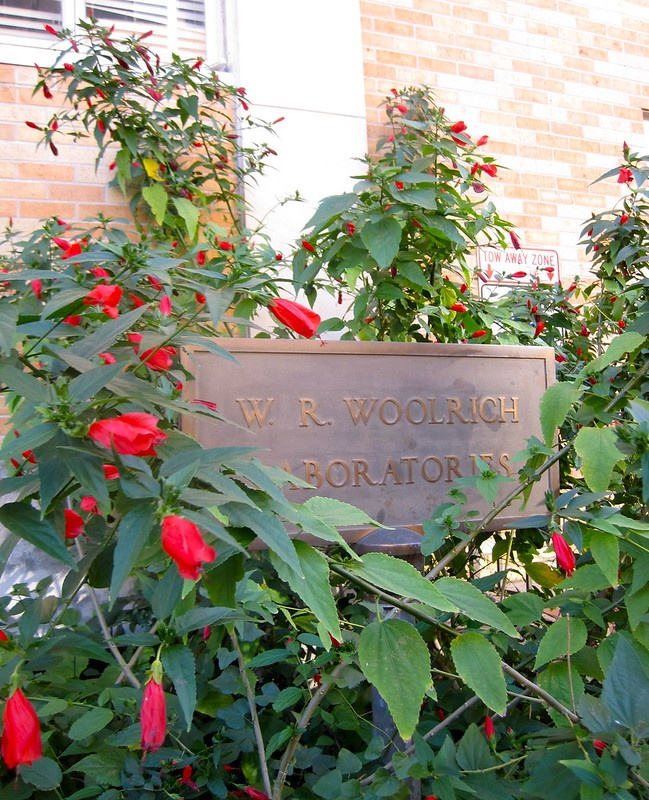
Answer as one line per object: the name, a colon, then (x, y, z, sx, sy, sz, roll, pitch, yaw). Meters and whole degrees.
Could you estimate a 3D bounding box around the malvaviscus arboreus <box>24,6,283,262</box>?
malvaviscus arboreus: (-0.655, -1.017, 2.882, 0.930, 0.870, 0.617, 0, 5, -5)

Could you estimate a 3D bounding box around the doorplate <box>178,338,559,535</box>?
doorplate: (0.159, 0.080, 1.792, 1.141, 0.427, 0.035, 0, -3, -37)
